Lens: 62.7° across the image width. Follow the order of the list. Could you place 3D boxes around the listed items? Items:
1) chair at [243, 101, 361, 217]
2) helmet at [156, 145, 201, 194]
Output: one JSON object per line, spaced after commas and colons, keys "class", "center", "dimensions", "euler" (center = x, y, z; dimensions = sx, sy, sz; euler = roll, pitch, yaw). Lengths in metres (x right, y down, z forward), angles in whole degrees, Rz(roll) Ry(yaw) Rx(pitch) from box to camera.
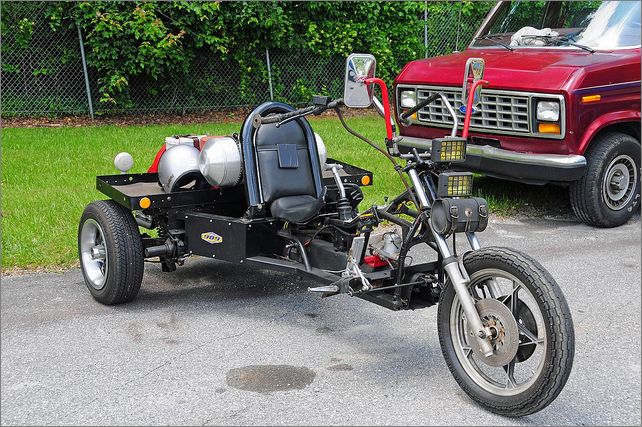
{"class": "chair", "center": [-0.099, -0.403, 4.345], "dimensions": [0.797, 1.099, 1.003], "euler": [-9, 7, -38]}
{"class": "helmet", "center": [-1.274, -0.392, 4.851], "dimensions": [0.381, 0.417, 0.400], "euler": [11, -3, -34]}
